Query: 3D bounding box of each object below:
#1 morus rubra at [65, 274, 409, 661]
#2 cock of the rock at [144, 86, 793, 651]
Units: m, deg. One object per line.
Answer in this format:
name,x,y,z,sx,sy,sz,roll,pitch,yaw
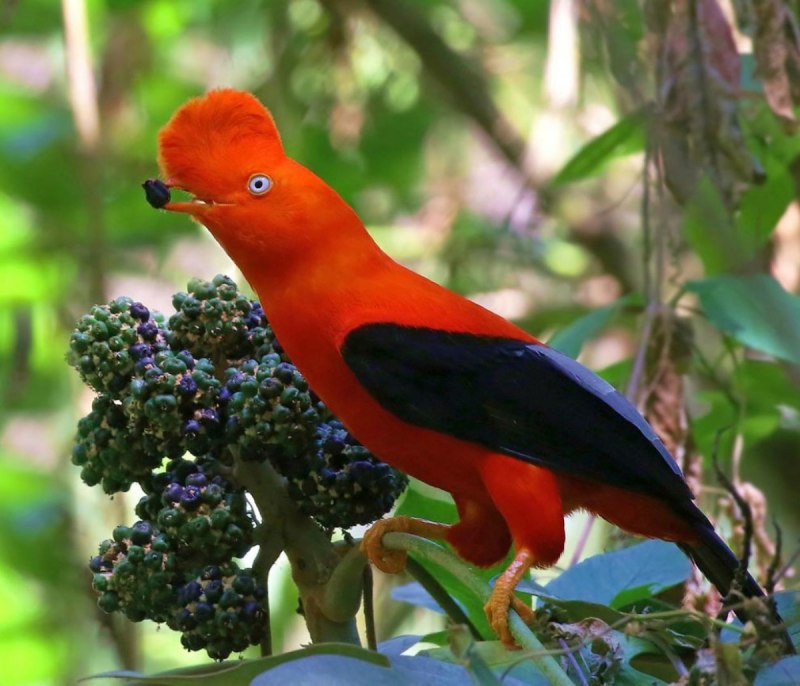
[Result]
morus rubra,-0.198,0.141,1.591,0.412,0.521,0.351,3,4,22
cock of the rock,0.071,0.009,1.625,0.673,0.779,0.713,-1,2,44
